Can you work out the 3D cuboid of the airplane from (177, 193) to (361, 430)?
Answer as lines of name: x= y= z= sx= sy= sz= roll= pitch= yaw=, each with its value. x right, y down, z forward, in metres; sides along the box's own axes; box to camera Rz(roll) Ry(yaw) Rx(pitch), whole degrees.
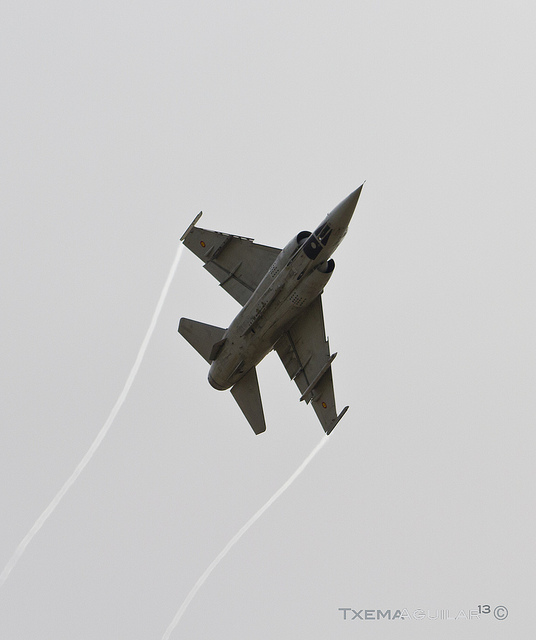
airplane: x=0.299 y=0.188 z=31.120 sx=4.913 sy=3.951 sz=3.148 roll=-8 pitch=-31 yaw=41
